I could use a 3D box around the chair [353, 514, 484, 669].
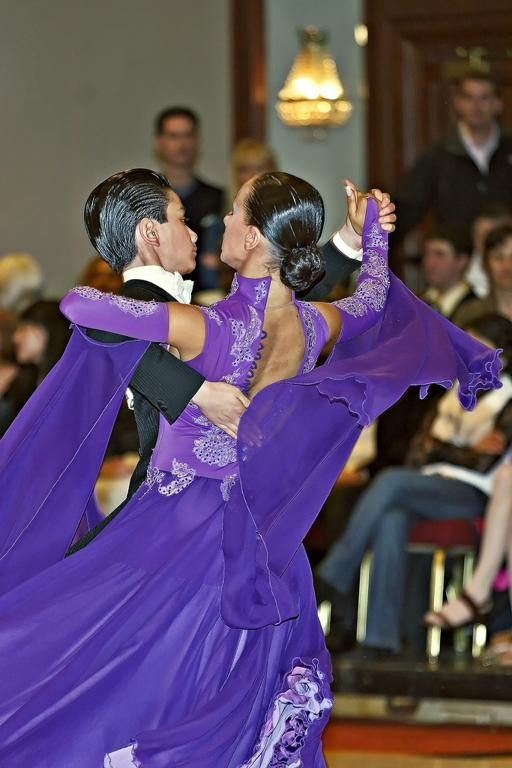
[{"bbox_3d":[0.607,0.678,2.662,0.443,0.458,0.588,16,-20,-38],"label":"chair"}]
